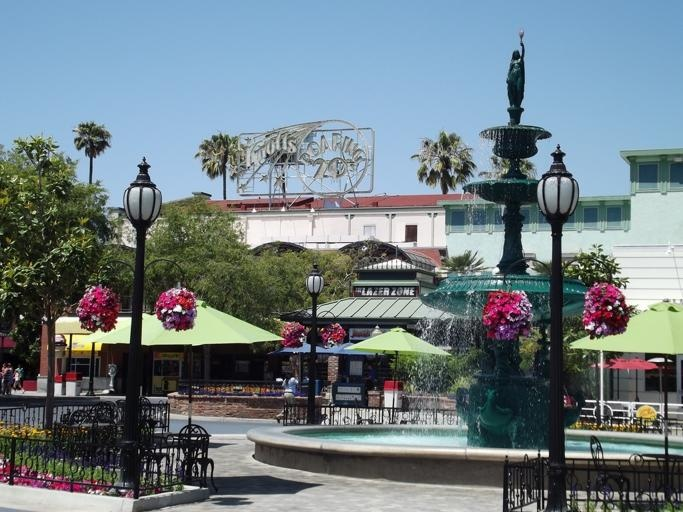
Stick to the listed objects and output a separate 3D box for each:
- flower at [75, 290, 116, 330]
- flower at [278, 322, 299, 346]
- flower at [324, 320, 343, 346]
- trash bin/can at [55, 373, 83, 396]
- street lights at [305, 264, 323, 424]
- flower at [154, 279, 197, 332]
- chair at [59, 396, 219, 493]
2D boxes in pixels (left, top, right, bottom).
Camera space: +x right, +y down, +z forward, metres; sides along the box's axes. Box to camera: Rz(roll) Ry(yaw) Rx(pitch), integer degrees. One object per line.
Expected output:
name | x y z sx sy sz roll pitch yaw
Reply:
flower | -6.207 1.474 31.615 0.953 1.116 0.955 -1 -23 -5
flower | -1.683 2.897 44.562 0.810 0.931 0.826 -6 -7 40
flower | -0.277 3.149 48.090 0.906 1.017 0.975 5 -3 -3
trash bin/can | -13.030 6.279 59.439 0.696 0.893 1.274 0 -4 -2
street lights | -0.875 2.672 38.232 0.770 5.028 0.614 -5 -5 34
flower | -4.017 1.379 30.683 0.954 1.049 0.978 -6 -15 11
chair | -5.126 4.598 29.825 4.334 3.222 3.032 6 -9 -35
